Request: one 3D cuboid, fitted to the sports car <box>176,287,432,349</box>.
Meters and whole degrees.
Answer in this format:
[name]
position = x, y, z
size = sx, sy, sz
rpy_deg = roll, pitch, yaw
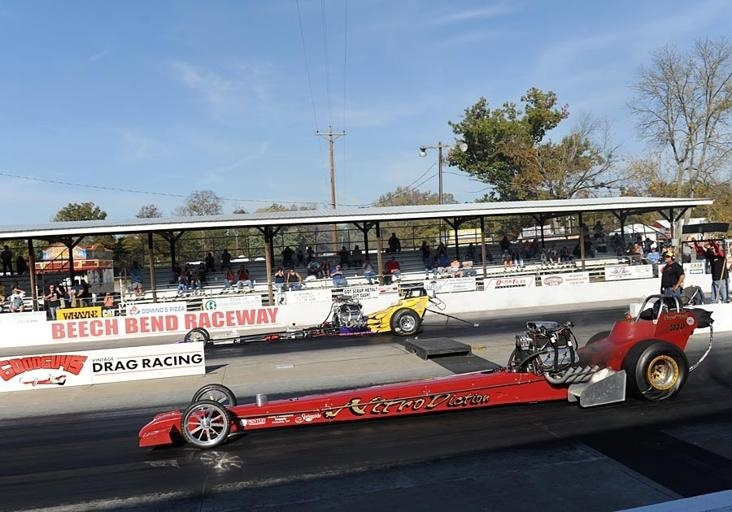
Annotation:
[sports car]
position = -2.604, 1.990, 22.939
size = 9.616, 1.930, 2.588
rpy_deg = -2, -6, -6
